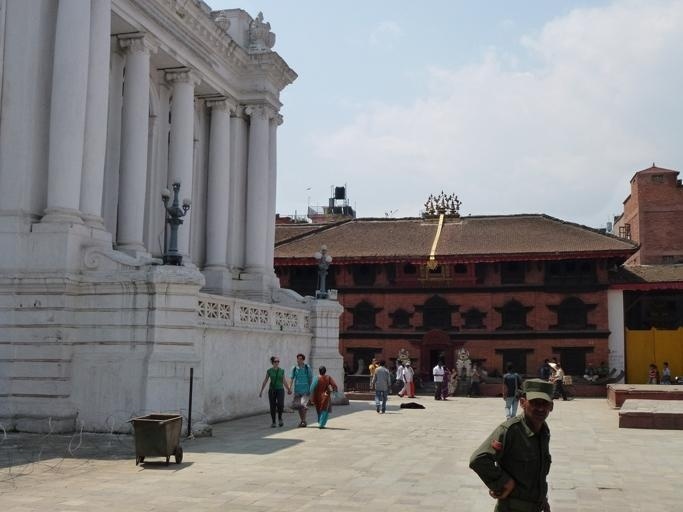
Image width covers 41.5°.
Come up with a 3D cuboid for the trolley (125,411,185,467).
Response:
[{"bbox_3d":[-4.528,4.669,22.430,1.117,1.045,1.521,-2,-8,8],"label":"trolley"}]

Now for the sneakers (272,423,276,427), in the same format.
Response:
[{"bbox_3d":[-2.113,5.425,28.688,0.081,0.100,0.146,-3,-23,9],"label":"sneakers"}]

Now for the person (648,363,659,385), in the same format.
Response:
[{"bbox_3d":[16.413,6.192,47.556,0.413,1.138,3.245,-3,-10,20],"label":"person"}]

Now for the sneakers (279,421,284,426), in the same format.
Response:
[{"bbox_3d":[-1.894,5.390,28.810,0.156,0.168,0.172,-3,-6,23],"label":"sneakers"}]
